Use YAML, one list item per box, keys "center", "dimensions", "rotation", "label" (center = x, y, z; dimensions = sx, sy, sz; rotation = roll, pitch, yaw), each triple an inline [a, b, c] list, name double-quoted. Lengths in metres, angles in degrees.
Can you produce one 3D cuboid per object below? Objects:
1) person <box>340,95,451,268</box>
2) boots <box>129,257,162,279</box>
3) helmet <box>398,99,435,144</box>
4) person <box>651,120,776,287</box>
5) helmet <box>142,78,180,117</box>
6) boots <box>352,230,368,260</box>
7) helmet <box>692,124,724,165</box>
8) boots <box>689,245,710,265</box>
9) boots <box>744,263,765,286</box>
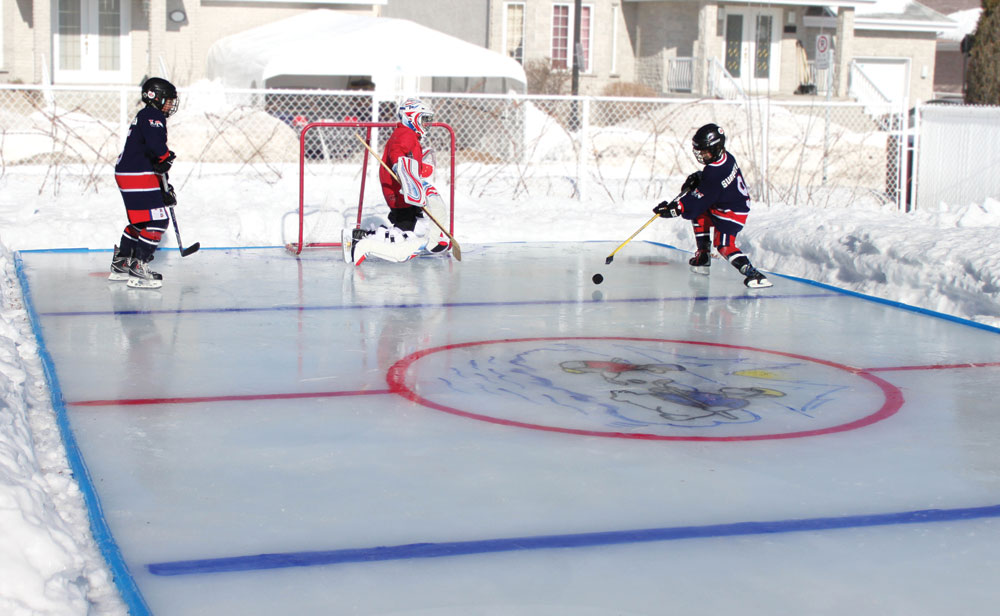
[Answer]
- center: [-0.934, -1.305, 10.482]
  dimensions: [0.981, 1.663, 1.064]
  rotation: [1, 11, 12]
  label: "person"
- center: [-3.096, -0.343, 8.940]
  dimensions: [0.250, 0.180, 0.177]
  rotation: [-6, 11, -28]
  label: "boots"
- center: [-0.835, -1.922, 10.404]
  dimensions: [0.394, 0.366, 0.380]
  rotation: [1, 9, -39]
  label: "helmet"
- center: [2.063, -1.001, 9.874]
  dimensions: [0.977, 1.508, 1.138]
  rotation: [0, 10, 3]
  label: "person"
- center: [-2.949, -1.836, 8.871]
  dimensions: [0.369, 0.293, 0.269]
  rotation: [7, 14, -33]
  label: "helmet"
- center: [-1.407, -0.627, 10.258]
  dimensions: [0.161, 0.304, 0.117]
  rotation: [1, -6, 12]
  label: "boots"
- center: [1.981, -1.557, 9.693]
  dimensions: [0.257, 0.383, 0.431]
  rotation: [1, 10, 12]
  label: "helmet"
- center: [2.023, -0.519, 10.352]
  dimensions: [0.282, 0.193, 0.118]
  rotation: [4, 24, 3]
  label: "boots"
- center: [2.381, -0.298, 9.503]
  dimensions: [0.223, 0.214, 0.141]
  rotation: [1, 11, 11]
  label: "boots"
